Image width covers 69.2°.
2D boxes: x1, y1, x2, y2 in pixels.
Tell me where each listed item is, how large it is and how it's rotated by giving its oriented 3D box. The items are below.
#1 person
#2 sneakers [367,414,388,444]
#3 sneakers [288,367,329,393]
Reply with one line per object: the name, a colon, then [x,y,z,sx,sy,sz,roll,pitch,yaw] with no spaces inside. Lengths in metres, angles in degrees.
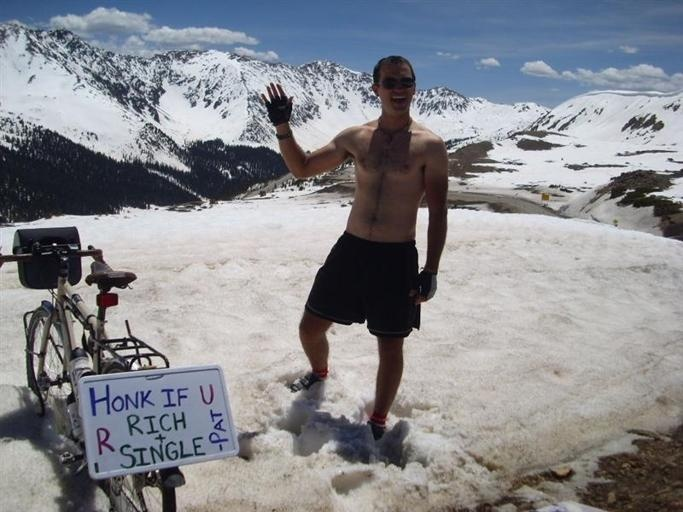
person: [0.201,-0.100,4.667,1.502,3.455,0.848,5,14,12]
sneakers: [0.340,1.611,4.645,0.142,0.243,0.237,6,47,14]
sneakers: [-0.353,1.285,5.254,0.478,0.217,0.169,-12,12,-24]
